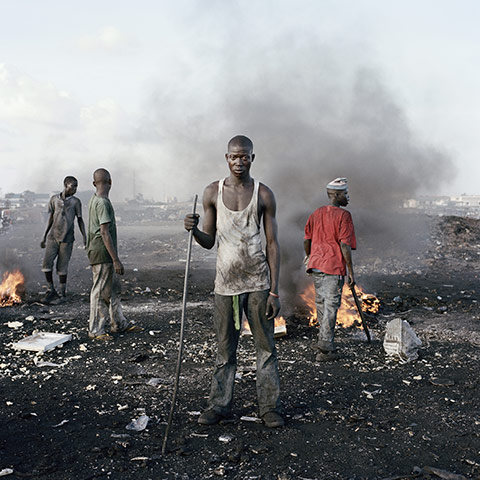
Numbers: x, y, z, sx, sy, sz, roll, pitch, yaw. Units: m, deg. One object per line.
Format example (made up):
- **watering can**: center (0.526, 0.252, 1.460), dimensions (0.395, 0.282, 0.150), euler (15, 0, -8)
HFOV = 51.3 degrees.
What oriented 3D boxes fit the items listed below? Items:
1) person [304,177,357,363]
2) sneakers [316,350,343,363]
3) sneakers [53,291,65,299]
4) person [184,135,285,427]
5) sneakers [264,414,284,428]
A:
- **person**: center (0.968, 0.267, 5.353), dimensions (0.515, 1.851, 0.749), euler (0, 4, 1)
- **sneakers**: center (0.907, 1.150, 5.077), dimensions (0.267, 0.128, 0.099), euler (-4, 6, -33)
- **sneakers**: center (-2.826, 0.875, 7.869), dimensions (0.139, 0.057, 0.105), euler (8, 31, 42)
- **person**: center (0.007, 0.296, 3.679), dimensions (0.614, 2.097, 0.285), euler (0, 4, 5)
- **sneakers**: center (0.235, 1.300, 3.643), dimensions (0.156, 0.098, 0.109), euler (0, 5, 6)
